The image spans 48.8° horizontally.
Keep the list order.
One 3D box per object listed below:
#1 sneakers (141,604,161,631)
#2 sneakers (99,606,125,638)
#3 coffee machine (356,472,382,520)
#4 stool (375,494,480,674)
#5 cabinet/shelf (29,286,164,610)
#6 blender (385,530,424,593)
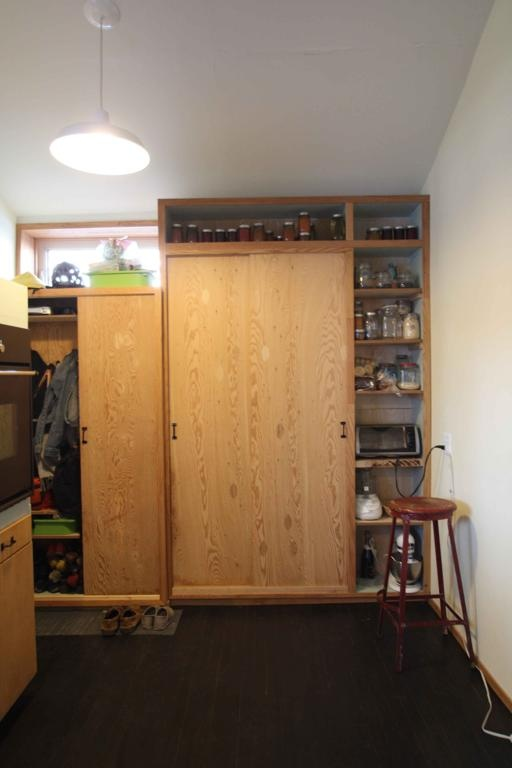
[{"bbox_3d":[-0.532,1.182,2.834,0.092,0.061,0.147,-2,6,-15],"label":"sneakers"},{"bbox_3d":[-0.723,1.179,2.813,0.055,0.059,0.168,1,2,-7],"label":"sneakers"},{"bbox_3d":[0.634,0.602,3.170,0.133,0.311,0.126,0,17,19],"label":"coffee machine"},{"bbox_3d":[0.774,0.888,2.616,0.382,0.689,0.422,-1,-3,13],"label":"stool"},{"bbox_3d":[-0.960,0.302,3.200,0.776,1.707,0.527,0,8,-8],"label":"cabinet/shelf"},{"bbox_3d":[0.835,0.977,3.148,0.150,0.298,0.248,2,-1,3],"label":"blender"}]
